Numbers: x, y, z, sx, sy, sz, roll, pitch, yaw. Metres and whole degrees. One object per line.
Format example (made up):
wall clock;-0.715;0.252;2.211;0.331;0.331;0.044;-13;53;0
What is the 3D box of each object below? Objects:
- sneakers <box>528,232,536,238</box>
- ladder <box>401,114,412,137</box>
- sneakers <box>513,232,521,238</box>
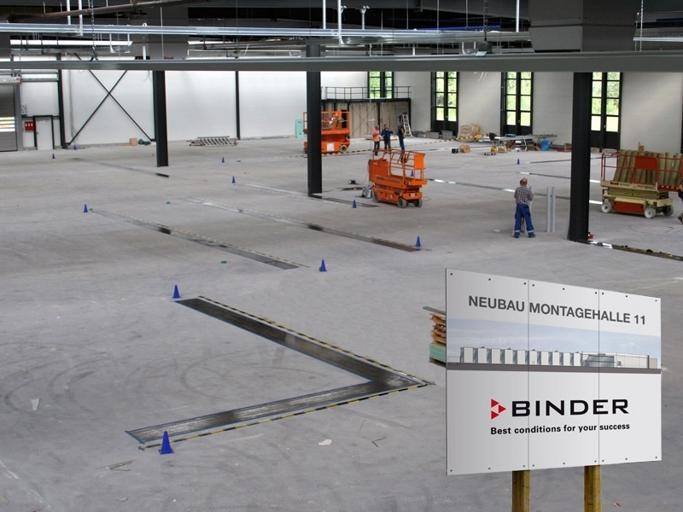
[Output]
sneakers;5.207;-0.548;23.607;0.122;0.127;0.176;0;0;6
ladder;4.077;-8.706;58.378;0.548;2.092;0.475;-4;14;38
sneakers;4.758;-0.563;23.553;0.109;0.172;0.187;-7;13;-42
